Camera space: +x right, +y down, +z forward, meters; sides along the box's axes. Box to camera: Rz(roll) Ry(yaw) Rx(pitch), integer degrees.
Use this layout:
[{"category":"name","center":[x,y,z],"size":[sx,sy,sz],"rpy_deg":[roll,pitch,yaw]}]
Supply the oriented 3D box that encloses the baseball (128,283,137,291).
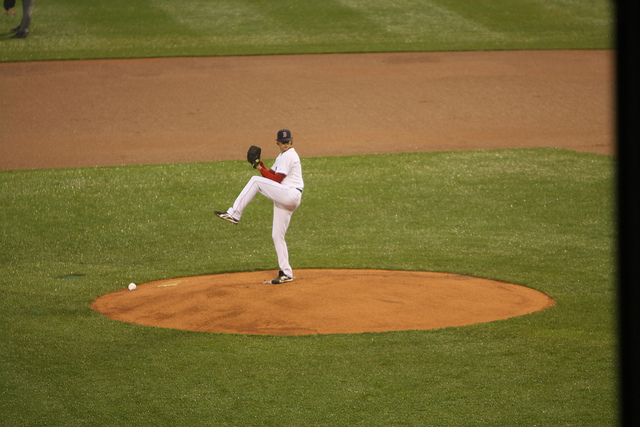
[{"category":"baseball","center":[-3.800,1.499,27.557],"size":[0.123,0.105,0.118],"rpy_deg":[1,5,8]}]

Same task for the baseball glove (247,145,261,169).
[{"category":"baseball glove","center":[-1.312,-1.156,27.607],"size":[0.305,0.395,0.151],"rpy_deg":[-8,9,0]}]

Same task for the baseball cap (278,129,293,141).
[{"category":"baseball cap","center":[-0.698,-1.588,27.513],"size":[0.256,0.220,0.346],"rpy_deg":[2,14,-3]}]

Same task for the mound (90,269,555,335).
[{"category":"mound","center":[0.091,1.811,26.969],"size":[8.305,0.793,1.925],"rpy_deg":[2,13,-4]}]

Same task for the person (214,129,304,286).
[{"category":"person","center":[-1.010,-0.149,27.435],"size":[1.304,3.015,0.911],"rpy_deg":[2,14,-2]}]

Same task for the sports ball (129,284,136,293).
[{"category":"sports ball","center":[-3.789,1.535,27.591],"size":[0.127,0.124,0.137],"rpy_deg":[5,2,0]}]
